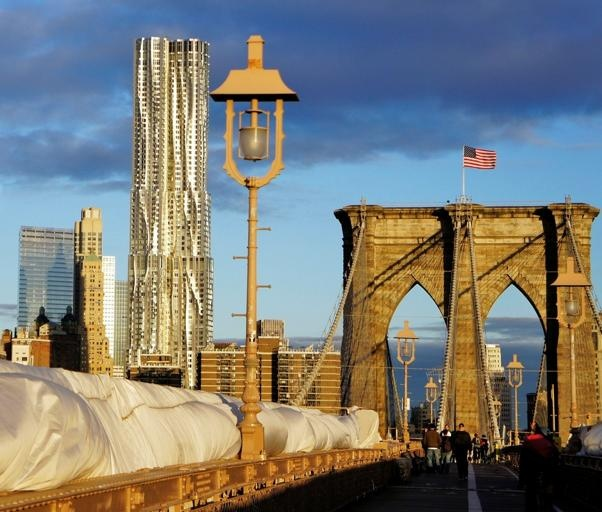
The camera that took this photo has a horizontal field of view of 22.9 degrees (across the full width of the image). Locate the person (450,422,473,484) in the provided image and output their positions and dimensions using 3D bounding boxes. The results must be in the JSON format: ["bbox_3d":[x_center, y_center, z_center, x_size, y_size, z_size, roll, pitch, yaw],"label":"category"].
[{"bbox_3d":[4.070,4.865,37.220,0.458,1.397,0.407,-2,5,4],"label":"person"}]

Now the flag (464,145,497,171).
[{"bbox_3d":[8.475,-4.805,70.189,1.404,1.092,0.921,1,-8,-2],"label":"flag"}]
